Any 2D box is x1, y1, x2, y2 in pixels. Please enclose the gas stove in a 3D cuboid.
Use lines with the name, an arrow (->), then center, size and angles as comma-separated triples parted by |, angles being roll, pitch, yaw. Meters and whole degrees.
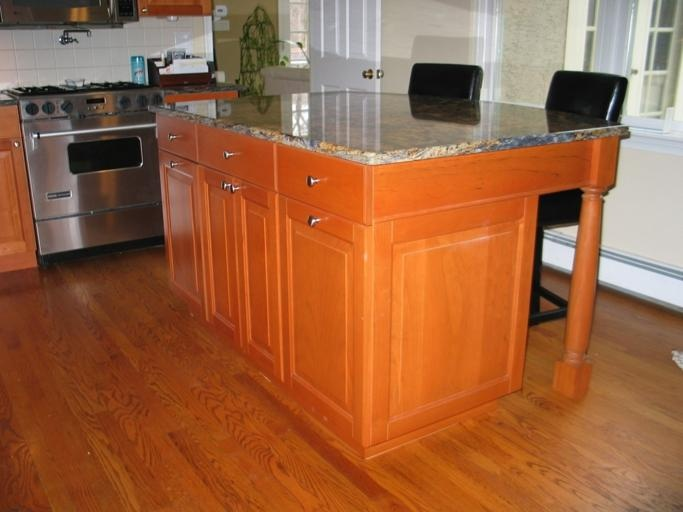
gas stove -> -1.771, -1.088, 3.707 | 0.947, 0.169, 0.388 | -15, 28, -31

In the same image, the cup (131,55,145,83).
cup -> -1.568, -1.436, 4.083 | 0.125, 0.191, 0.308 | -9, 26, -18

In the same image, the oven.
oven -> -1.992, -0.564, 3.906 | 0.876, 1.012, 1.057 | 9, 17, 25
